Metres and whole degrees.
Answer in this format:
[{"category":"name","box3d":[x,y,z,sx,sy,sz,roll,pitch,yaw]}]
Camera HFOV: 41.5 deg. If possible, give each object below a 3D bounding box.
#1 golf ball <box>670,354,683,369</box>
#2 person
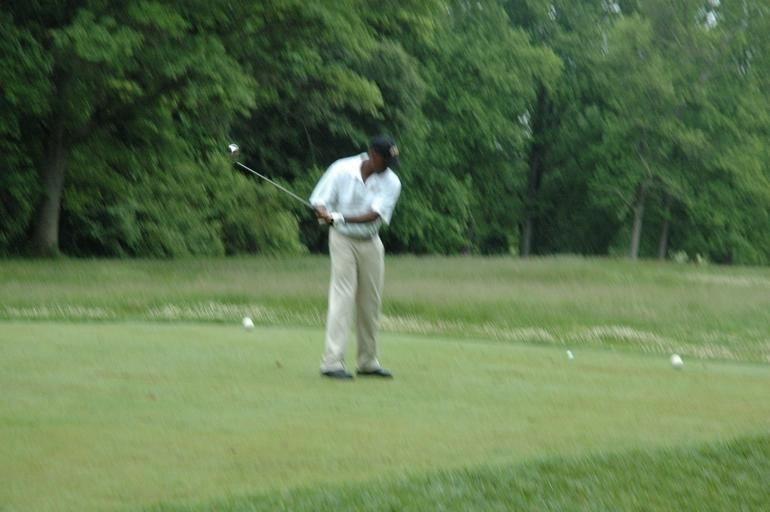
[{"category":"golf ball","box3d":[3.524,1.273,12.284,0.097,0.082,0.188,-17,20,1]},{"category":"person","box3d":[-0.326,-0.028,11.332,0.921,2.670,0.580,2,2,-5]}]
